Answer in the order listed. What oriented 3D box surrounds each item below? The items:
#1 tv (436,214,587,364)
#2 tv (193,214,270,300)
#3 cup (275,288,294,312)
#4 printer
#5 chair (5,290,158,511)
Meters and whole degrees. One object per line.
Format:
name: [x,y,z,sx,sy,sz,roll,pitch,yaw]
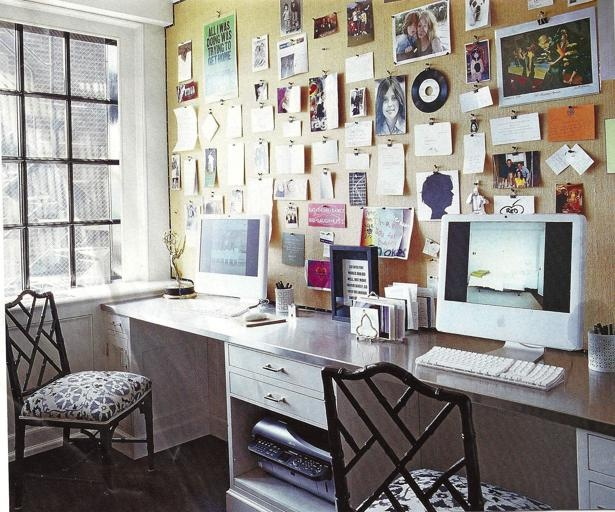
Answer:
tv: [0.705,0.106,1.701,0.412,0.435,0.151,3,-2,33]
tv: [-0.386,-0.005,2.636,0.397,0.432,0.147,3,0,33]
cup: [-0.116,0.213,2.506,0.096,0.120,0.090,1,3,0]
printer: [-0.034,0.866,2.212,0.412,0.288,0.306,6,17,29]
chair: [-1.167,0.708,3.054,0.827,1.638,0.879,0,2,9]
